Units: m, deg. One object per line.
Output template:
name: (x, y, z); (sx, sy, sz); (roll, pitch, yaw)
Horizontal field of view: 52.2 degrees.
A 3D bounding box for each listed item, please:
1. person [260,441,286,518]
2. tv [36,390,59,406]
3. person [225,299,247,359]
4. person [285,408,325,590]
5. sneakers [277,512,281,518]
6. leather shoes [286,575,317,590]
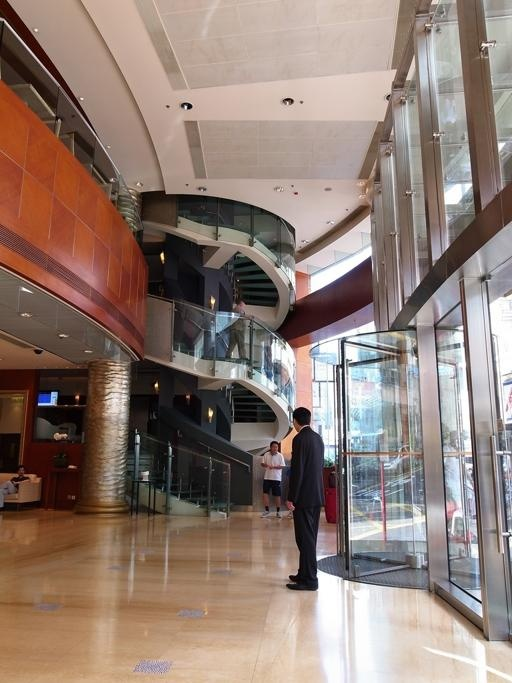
person: (0.351, 2.818, 10.799); (0.463, 1.479, 1.178); (-1, -13, 2)
tv: (-5.280, 1.428, 13.150); (0.048, 0.333, 0.467); (-30, -16, 22)
person: (-0.391, -0.326, 12.259); (0.431, 1.685, 1.094); (-3, -13, 7)
person: (0.407, 1.269, 4.353); (0.340, 1.444, 0.402); (-2, -13, 4)
sneakers: (0.449, 3.415, 10.282); (0.059, 0.124, 0.126); (2, -6, 7)
leather shoes: (0.371, 1.947, 4.245); (0.252, 0.083, 0.381); (-2, -13, 3)
